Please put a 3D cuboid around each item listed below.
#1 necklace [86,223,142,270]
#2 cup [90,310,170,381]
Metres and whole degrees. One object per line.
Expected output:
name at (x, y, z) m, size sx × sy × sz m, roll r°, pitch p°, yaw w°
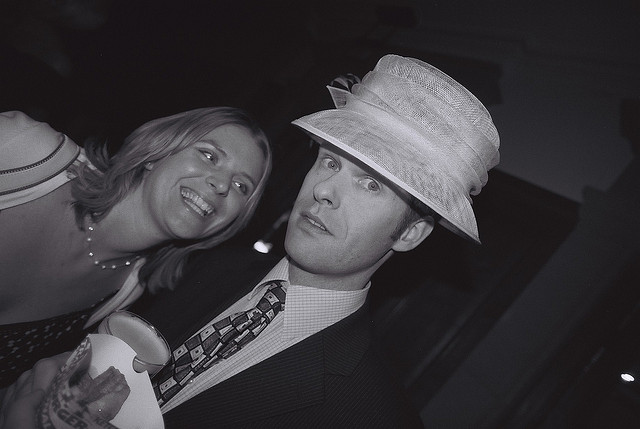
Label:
necklace at (-0.953, 0.143, 2.943) m, size 0.190 × 0.210 × 0.046 m, roll 20°, pitch -4°, yaw -4°
cup at (-0.791, 0.558, 2.892) m, size 0.282 × 0.299 × 0.271 m, roll 54°, pitch -2°, yaw 2°
